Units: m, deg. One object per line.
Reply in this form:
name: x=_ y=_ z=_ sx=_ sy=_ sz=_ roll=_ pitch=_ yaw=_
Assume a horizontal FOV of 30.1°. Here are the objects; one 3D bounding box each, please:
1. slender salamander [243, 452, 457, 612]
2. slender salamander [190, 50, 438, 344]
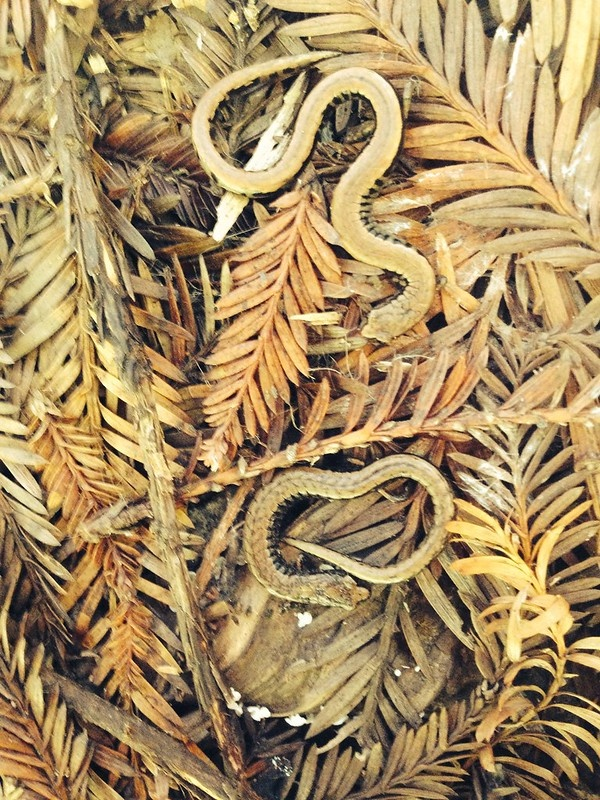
slender salamander: x=0.129 y=0.308 z=2.812 sx=0.583 sy=0.084 sz=0.363 roll=-19 pitch=86 yaw=-22
slender salamander: x=0.101 y=-0.500 z=2.631 sx=0.464 sy=0.083 sz=0.752 roll=-39 pitch=90 yaw=8
